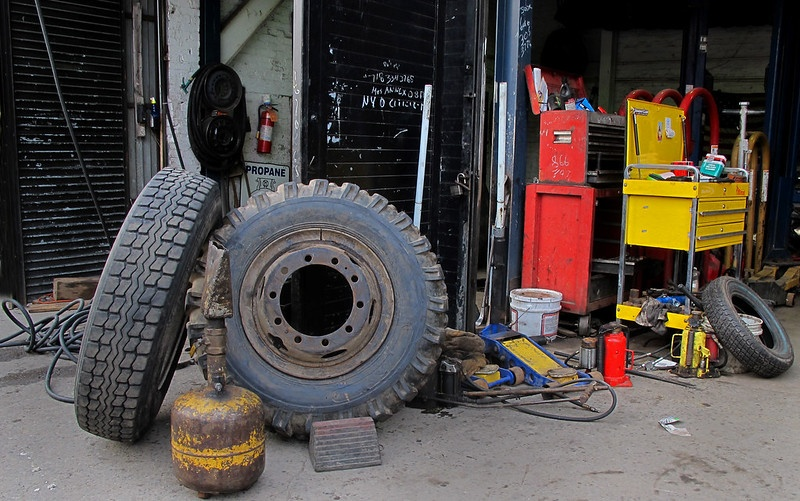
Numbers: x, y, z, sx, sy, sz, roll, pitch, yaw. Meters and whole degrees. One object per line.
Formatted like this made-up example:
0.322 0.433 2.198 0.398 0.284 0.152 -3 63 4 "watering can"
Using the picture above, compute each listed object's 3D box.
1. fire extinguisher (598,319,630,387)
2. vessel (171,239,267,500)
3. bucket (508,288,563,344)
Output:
1.981 0.963 5.140 0.351 0.519 0.290 2 -3 -12 "fire extinguisher"
-1.148 0.751 3.470 0.409 1.496 0.461 9 13 44 "vessel"
1.499 0.703 6.140 0.548 0.486 0.580 0 2 0 "bucket"
